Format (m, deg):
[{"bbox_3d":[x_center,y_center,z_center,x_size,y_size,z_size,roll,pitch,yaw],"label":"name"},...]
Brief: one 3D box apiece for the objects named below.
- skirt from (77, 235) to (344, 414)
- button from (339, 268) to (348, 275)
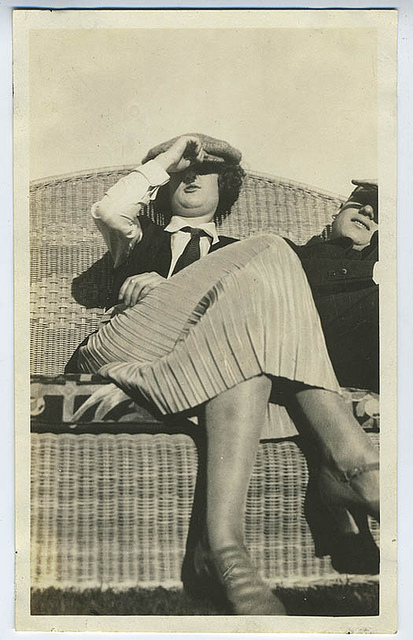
[{"bbox_3d":[0.017,0.015,4.087,0.897,0.618,0.100,2,4,-2],"label":"skirt"},{"bbox_3d":[0.469,-0.164,4.110,0.020,0.020,0.005,12,-5,3],"label":"button"}]
